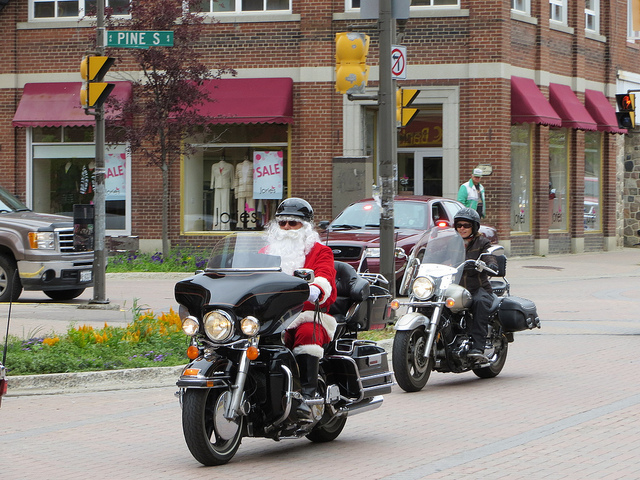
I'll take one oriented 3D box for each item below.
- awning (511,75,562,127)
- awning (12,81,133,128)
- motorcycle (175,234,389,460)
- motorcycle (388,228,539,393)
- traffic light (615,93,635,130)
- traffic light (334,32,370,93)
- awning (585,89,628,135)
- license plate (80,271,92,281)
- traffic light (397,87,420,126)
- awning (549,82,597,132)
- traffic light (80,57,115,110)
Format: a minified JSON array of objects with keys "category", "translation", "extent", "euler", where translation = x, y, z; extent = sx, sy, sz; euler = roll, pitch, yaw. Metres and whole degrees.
[{"category":"awning","translation":[6.125,-4.061,27.506],"extent":[0.747,1.429,1.604],"euler":[-1,0,32]},{"category":"awning","translation":[-7.147,-4.036,27.899],"extent":[3.442,1.072,1.215],"euler":[3,24,16]},{"category":"motorcycle","translation":[-0.368,0.937,8.562],"extent":[1.953,1.989,0.661],"euler":[-1,-1,-39]},{"category":"motorcycle","translation":[1.833,0.880,11.533],"extent":[1.274,1.628,2.428],"euler":[-2,-1,39]},{"category":"traffic light","translation":[8.339,-3.610,26.083],"extent":[0.443,0.997,0.913],"euler":[-1,0,16]},{"category":"traffic light","translation":[0.531,-2.982,15.833],"extent":[0.522,1.065,0.483],"euler":[-1,0,1]},{"category":"awning","translation":[9.327,-4.258,31.395],"extent":[1.179,1.255,2.141],"euler":[17,13,33]},{"category":"license plate","translation":[-4.193,0.643,17.168],"extent":[0.164,0.145,0.042],"euler":[0,6,-30]},{"category":"traffic light","translation":[1.784,-2.752,19.510],"extent":[0.394,0.850,0.857],"euler":[-1,0,6]},{"category":"awning","translation":[7.793,-4.116,29.427],"extent":[1.078,1.221,2.027],"euler":[3,7,32]},{"category":"traffic light","translation":[-3.731,-2.668,16.148],"extent":[0.664,0.940,0.560],"euler":[0,0,-11]}]
